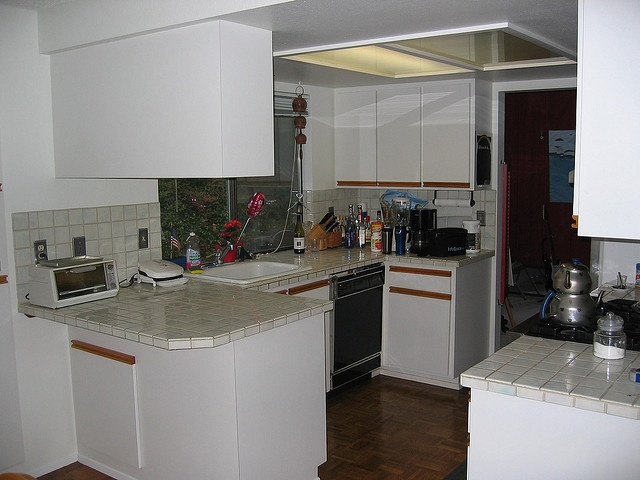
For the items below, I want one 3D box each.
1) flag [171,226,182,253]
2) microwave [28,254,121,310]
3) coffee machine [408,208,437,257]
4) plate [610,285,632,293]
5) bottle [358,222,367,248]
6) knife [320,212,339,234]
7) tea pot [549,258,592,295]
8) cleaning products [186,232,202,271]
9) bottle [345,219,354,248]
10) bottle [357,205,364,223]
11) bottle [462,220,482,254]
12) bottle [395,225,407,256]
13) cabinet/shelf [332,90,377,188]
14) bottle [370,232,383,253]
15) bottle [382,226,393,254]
[{"bbox_3d":[-1.169,-0.012,3.954,0.081,0.225,0.206,-3,11,-17],"label":"flag"},{"bbox_3d":[-1.609,0.183,3.145,0.307,0.285,0.429,2,6,33],"label":"microwave"},{"bbox_3d":[0.938,-0.082,4.520,0.233,0.419,0.240,2,11,10],"label":"coffee machine"},{"bbox_3d":[2.198,0.354,3.592,0.125,0.024,0.159,6,12,29],"label":"plate"},{"bbox_3d":[0.423,-0.048,4.885,0.097,0.226,0.075,-1,10,-7],"label":"bottle"},{"bbox_3d":[0.098,-0.187,4.966,0.132,0.051,0.215,21,39,-6],"label":"knife"},{"bbox_3d":[1.439,0.213,2.829,0.223,0.194,0.169,-7,10,-42],"label":"tea pot"},{"bbox_3d":[-0.996,0.092,3.857,0.119,0.293,0.160,-4,11,-24],"label":"cleaning products"},{"bbox_3d":[0.293,-0.069,4.888,0.094,0.270,0.129,1,10,2],"label":"bottle"},{"bbox_3d":[0.411,-0.275,4.957,0.059,0.170,0.145,1,11,3],"label":"bottle"},{"bbox_3d":[1.437,-0.049,4.686,0.155,0.295,0.321,3,11,16],"label":"bottle"},{"bbox_3d":[0.764,-0.005,4.577,0.094,0.258,0.177,10,14,42],"label":"bottle"},{"bbox_3d":[0.397,-0.918,5.209,0.417,0.702,0.397,-4,7,-30],"label":"cabinet/shelf"},{"bbox_3d":[0.534,0.021,4.636,0.102,0.179,0.091,0,10,1],"label":"bottle"},{"bbox_3d":[0.632,-0.002,4.572,0.116,0.252,0.068,-3,11,-18],"label":"bottle"}]
